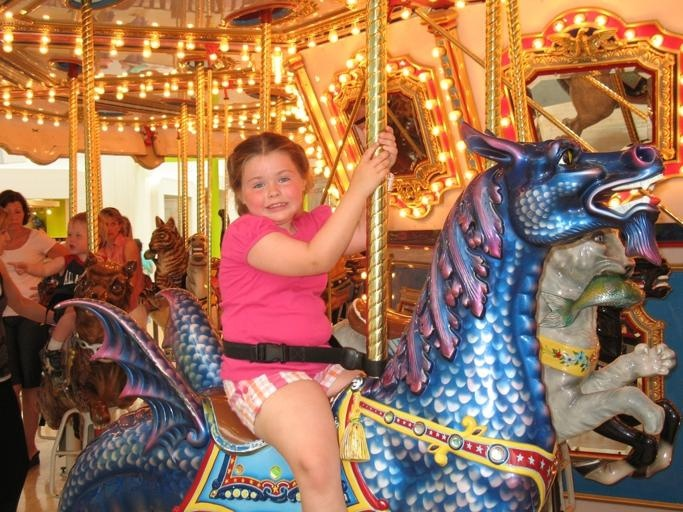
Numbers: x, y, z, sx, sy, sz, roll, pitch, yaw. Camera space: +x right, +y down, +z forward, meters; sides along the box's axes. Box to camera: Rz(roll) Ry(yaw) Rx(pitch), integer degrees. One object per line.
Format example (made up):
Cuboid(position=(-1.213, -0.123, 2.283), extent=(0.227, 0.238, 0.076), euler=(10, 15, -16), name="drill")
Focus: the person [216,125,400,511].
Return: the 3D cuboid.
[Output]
Cuboid(position=(-0.138, 0.187, 2.493), extent=(0.760, 1.323, 0.410), euler=(-5, -4, 45), name="person")
